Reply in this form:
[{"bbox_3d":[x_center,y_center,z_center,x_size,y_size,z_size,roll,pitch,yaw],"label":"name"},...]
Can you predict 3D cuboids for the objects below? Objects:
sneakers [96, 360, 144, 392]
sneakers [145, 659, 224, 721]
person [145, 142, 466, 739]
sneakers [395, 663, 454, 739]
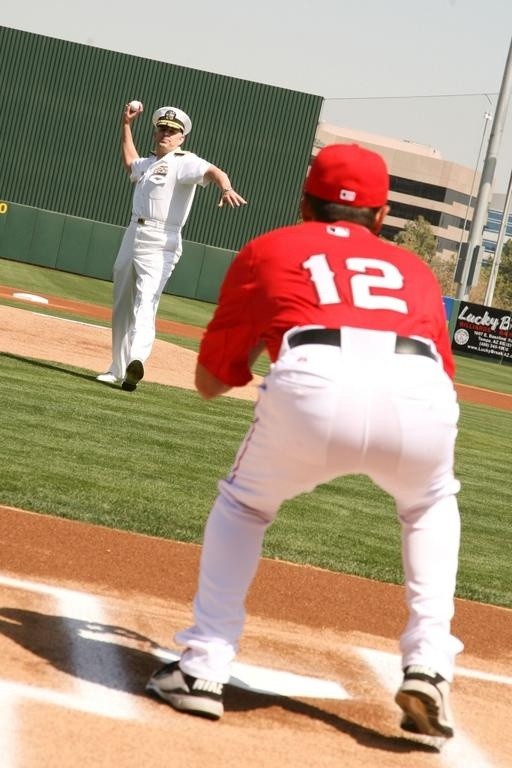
[{"bbox_3d":[-0.959,-0.059,5.498,0.196,0.215,0.540,5,3,-12],"label":"sneakers"},{"bbox_3d":[-0.154,0.690,1.792,0.083,0.085,0.213,7,11,-44],"label":"sneakers"},{"bbox_3d":[0.191,0.117,1.976,0.828,1.292,0.751,4,-1,11],"label":"person"},{"bbox_3d":[0.391,0.724,1.781,0.105,0.104,0.229,-2,-38,22],"label":"sneakers"}]
